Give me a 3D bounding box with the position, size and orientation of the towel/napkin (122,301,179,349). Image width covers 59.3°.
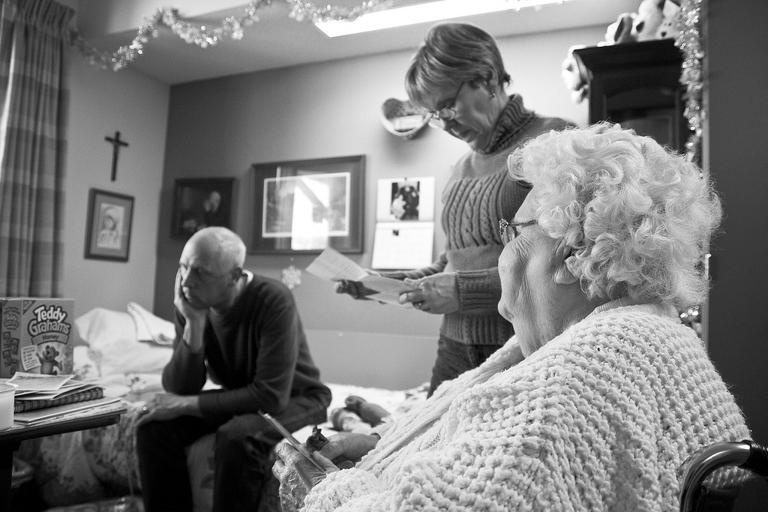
[{"bbox_3d":[-1.102,0.330,3.178,0.201,0.200,0.082,15,-38,-1],"label":"towel/napkin"}]

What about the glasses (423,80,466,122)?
[{"bbox_3d":[0.228,-0.592,2.513,0.039,0.132,0.128,25,-20,-11],"label":"glasses"}]

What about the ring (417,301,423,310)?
[{"bbox_3d":[0.136,0.186,2.511,0.025,0.024,0.006,-6,-25,43],"label":"ring"}]

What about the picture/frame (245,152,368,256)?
[{"bbox_3d":[-0.323,-0.222,3.035,0.474,0.365,0.038,-1,-5,17],"label":"picture/frame"}]
